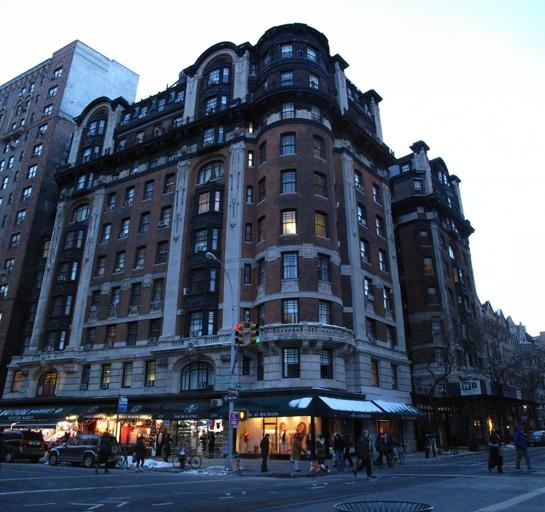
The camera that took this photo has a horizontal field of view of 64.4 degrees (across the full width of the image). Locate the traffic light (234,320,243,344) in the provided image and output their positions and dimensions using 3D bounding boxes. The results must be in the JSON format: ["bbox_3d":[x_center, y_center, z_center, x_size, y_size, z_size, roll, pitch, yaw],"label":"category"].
[{"bbox_3d":[-1.716,3.891,21.825,0.421,1.052,0.747,-3,-24,3],"label":"traffic light"}]

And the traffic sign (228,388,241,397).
[{"bbox_3d":[-2.177,7.608,24.268,0.444,0.513,0.850,-11,-25,21],"label":"traffic sign"}]
